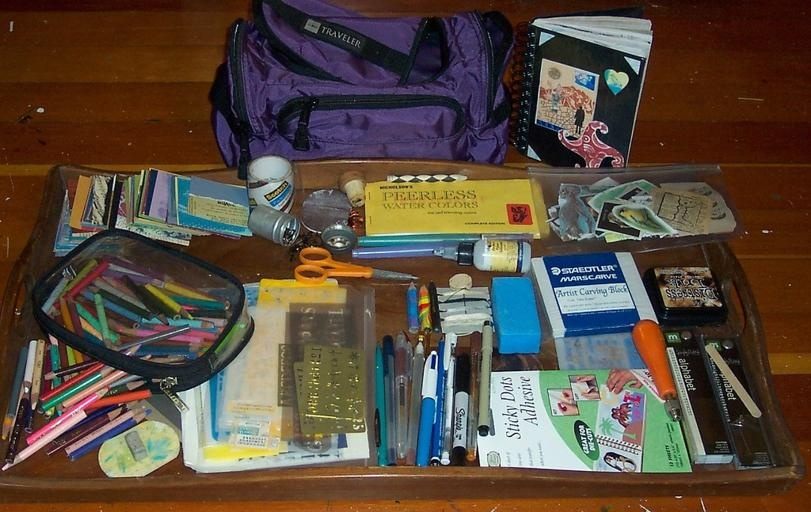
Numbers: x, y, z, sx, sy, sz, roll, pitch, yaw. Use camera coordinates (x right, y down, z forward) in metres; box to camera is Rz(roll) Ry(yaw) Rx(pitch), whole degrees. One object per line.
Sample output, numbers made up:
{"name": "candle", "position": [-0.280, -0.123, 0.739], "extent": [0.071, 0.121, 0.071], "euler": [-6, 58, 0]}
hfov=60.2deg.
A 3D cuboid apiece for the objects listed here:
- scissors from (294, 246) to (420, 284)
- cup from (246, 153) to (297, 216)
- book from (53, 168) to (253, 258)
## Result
{"name": "scissors", "position": [-0.112, 0.029, 1.594], "extent": [0.275, 0.028, 0.101], "euler": [5, 49, -5]}
{"name": "cup", "position": [-0.306, -0.159, 1.680], "extent": [0.133, 0.132, 0.121], "euler": [3, 56, -4]}
{"name": "book", "position": [-0.572, -0.119, 1.623], "extent": [0.386, 0.088, 0.205], "euler": [4, 83, -9]}
